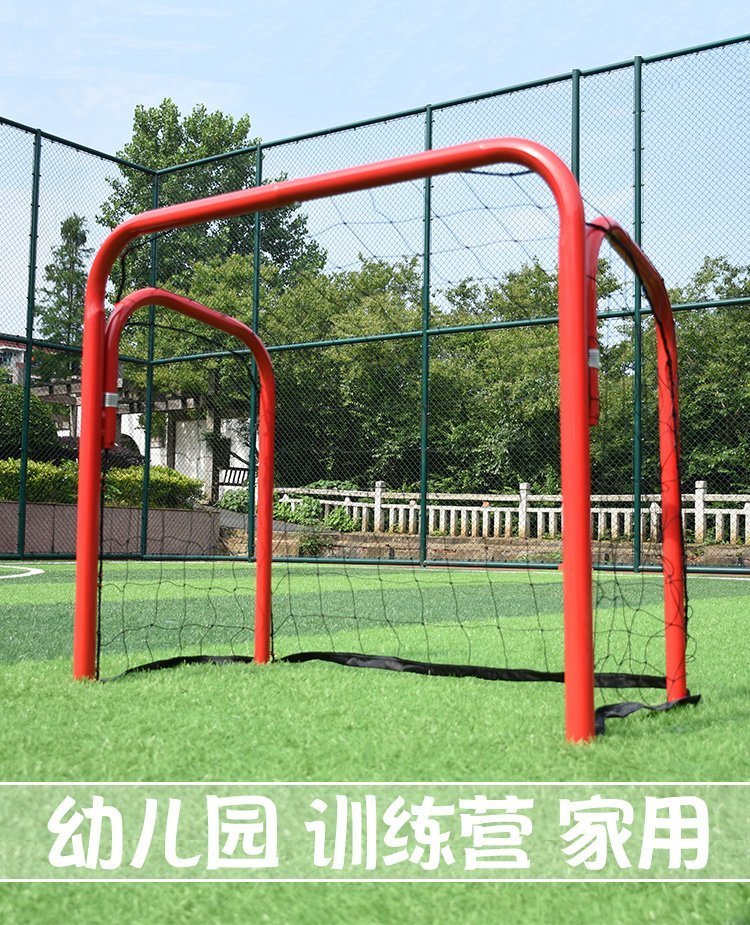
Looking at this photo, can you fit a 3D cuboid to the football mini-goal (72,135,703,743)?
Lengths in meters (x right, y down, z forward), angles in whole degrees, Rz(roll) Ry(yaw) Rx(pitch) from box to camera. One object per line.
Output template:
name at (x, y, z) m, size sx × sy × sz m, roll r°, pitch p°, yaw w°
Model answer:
football mini-goal at (-0.156, -0.206, 3.098) m, size 0.951 × 1.385 × 1.595 m, roll 12°, pitch -23°, yaw -41°
